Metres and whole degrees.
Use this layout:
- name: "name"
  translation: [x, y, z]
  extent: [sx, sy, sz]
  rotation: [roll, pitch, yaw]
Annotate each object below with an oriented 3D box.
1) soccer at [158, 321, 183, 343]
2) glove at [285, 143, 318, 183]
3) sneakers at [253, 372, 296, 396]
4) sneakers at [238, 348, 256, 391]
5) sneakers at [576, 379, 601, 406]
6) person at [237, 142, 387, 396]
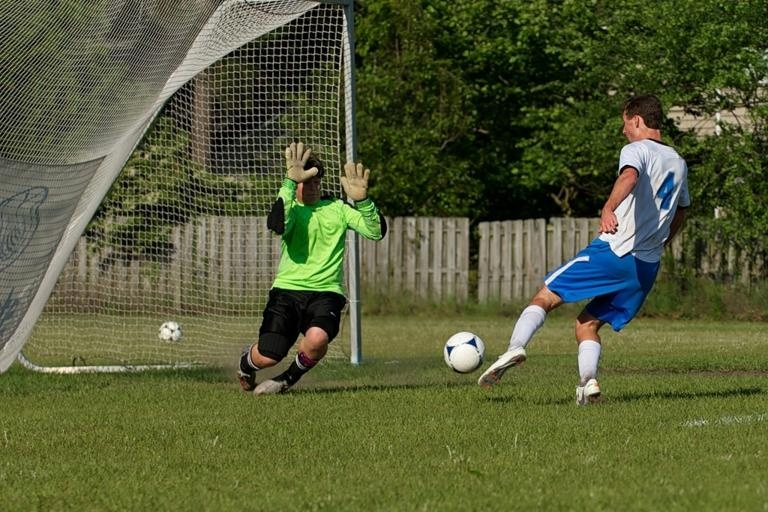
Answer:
- name: "soccer"
  translation: [-2.734, 0.981, 16.463]
  extent: [0.287, 0.251, 0.297]
  rotation: [-3, 12, -9]
- name: "glove"
  translation: [-0.870, -0.975, 13.623]
  extent: [0.328, 0.427, 0.337]
  rotation: [-2, 11, -3]
- name: "sneakers"
  translation: [-1.176, 1.377, 13.745]
  extent: [0.483, 0.173, 0.205]
  rotation: [-18, -21, -24]
- name: "sneakers"
  translation: [-1.417, 1.228, 13.719]
  extent: [0.165, 0.482, 0.216]
  rotation: [-1, 19, 2]
- name: "sneakers"
  translation: [2.066, 1.370, 12.946]
  extent: [0.247, 0.273, 0.135]
  rotation: [1, 12, 13]
- name: "person"
  translation: [-0.797, 0.141, 13.602]
  extent: [1.404, 2.601, 0.707]
  rotation: [-9, 14, -35]
